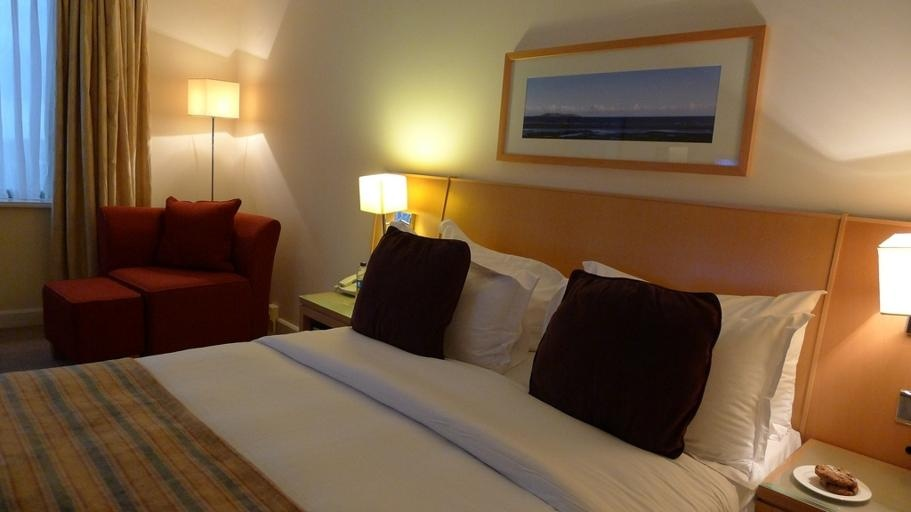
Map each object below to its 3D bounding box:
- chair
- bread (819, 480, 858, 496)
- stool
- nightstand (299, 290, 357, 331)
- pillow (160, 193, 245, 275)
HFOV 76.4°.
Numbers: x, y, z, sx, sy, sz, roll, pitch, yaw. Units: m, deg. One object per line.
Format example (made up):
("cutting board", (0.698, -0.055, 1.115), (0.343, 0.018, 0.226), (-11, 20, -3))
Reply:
("chair", (-2.380, 0.036, 5.316), (1.451, 1.377, 1.379), (8, 4, 37))
("bread", (1.900, 1.133, 2.826), (0.188, 0.053, 0.058), (6, 11, 4))
("stool", (-2.938, 0.503, 4.658), (0.814, 0.536, 0.601), (17, 16, 43))
("nightstand", (-0.952, 0.410, 4.329), (0.290, 0.300, 0.495), (-7, 14, -36))
("pillow", (-2.248, -0.196, 5.071), (0.744, 0.603, 0.267), (4, 0, 12))
